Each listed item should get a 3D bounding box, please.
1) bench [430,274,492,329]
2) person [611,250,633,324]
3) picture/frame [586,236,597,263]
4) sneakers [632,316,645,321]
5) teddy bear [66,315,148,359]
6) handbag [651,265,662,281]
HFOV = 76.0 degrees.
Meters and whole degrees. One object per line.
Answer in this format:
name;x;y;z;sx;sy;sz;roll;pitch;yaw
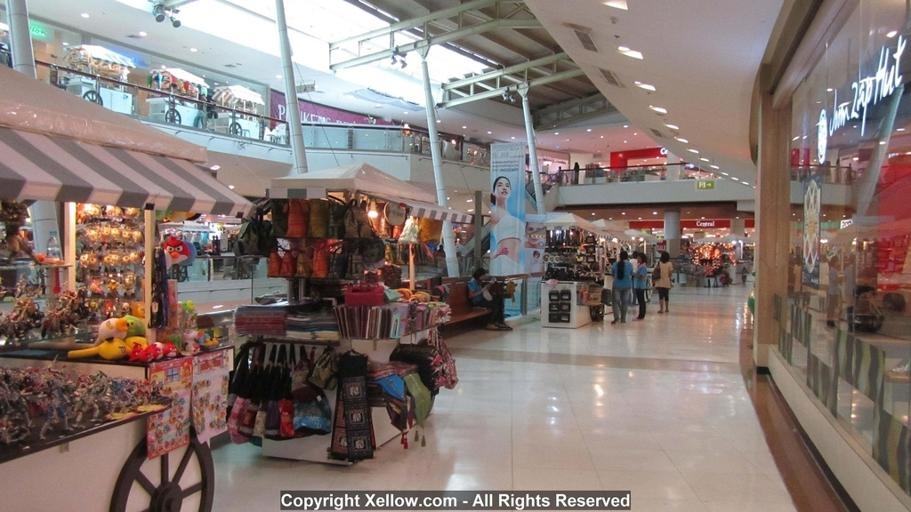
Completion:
bench;0.118;0.908;11.524;0.452;0.637;1.385;2;1;23
person;4.193;0.738;14.686;0.479;1.837;1.208;1;7;15
picture/frame;3.604;-0.198;15.427;0.163;0.574;0.346;13;-8;-25
sneakers;4.694;1.600;14.913;0.324;0.099;0.110;1;-5;27
teddy bear;-2.934;0.683;4.916;0.643;0.263;0.331;-9;0;6
handbag;5.652;0.460;16.286;0.130;0.417;0.431;1;6;11
